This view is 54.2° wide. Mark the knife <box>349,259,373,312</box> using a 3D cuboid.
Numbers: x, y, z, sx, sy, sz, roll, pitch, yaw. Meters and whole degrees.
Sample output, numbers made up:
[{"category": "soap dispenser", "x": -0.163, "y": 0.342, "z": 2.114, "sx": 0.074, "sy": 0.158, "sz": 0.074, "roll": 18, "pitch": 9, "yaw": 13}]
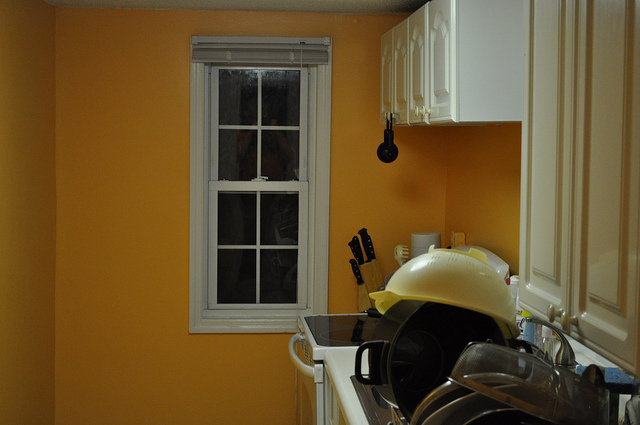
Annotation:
[{"category": "knife", "x": 0.245, "y": 0.420, "z": 3.720, "sx": 0.103, "sy": 0.332, "sz": 0.017, "roll": -11, "pitch": -4, "yaw": 15}]

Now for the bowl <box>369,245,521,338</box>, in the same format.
[{"category": "bowl", "x": 0.487, "y": 0.234, "z": 2.230, "sx": 0.451, "sy": 0.209, "sz": 0.456, "roll": 12, "pitch": -6, "yaw": 1}]

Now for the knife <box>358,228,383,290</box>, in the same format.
[{"category": "knife", "x": 0.311, "y": 0.266, "z": 3.729, "sx": 0.077, "sy": 0.485, "sz": 0.047, "roll": -13, "pitch": -7, "yaw": -15}]

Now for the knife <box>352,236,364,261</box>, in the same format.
[{"category": "knife", "x": 0.232, "y": 0.208, "z": 3.711, "sx": 0.031, "sy": 0.164, "sz": 0.016, "roll": -17, "pitch": 2, "yaw": -4}]

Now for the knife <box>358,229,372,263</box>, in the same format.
[{"category": "knife", "x": 0.275, "y": 0.193, "z": 3.741, "sx": 0.050, "sy": 0.213, "sz": 0.027, "roll": -14, "pitch": 13, "yaw": 4}]

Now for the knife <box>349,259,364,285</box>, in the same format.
[{"category": "knife", "x": 0.219, "y": 0.347, "z": 3.714, "sx": 0.042, "sy": 0.193, "sz": 0.045, "roll": -11, "pitch": 4, "yaw": 8}]
